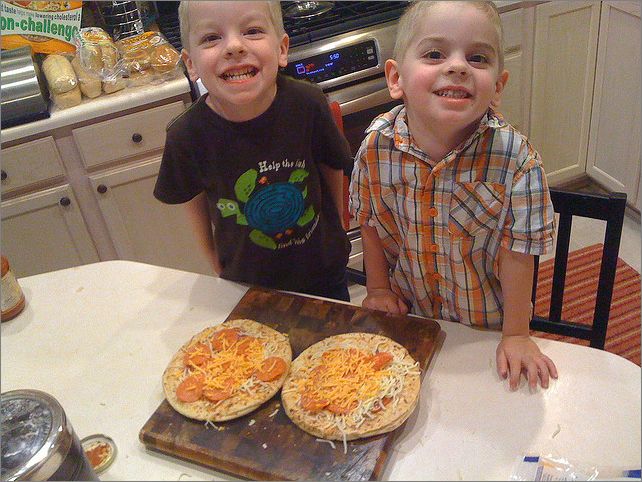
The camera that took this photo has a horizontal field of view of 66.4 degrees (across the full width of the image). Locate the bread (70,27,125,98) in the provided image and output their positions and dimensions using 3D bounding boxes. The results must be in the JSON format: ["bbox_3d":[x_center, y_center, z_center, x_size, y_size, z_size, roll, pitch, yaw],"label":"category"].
[{"bbox_3d":[-0.930,-0.747,2.036,0.188,0.304,0.111,-16,-7,-25],"label":"bread"}]

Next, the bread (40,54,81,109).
[{"bbox_3d":[-1.087,-0.665,2.058,0.130,0.112,0.277,-12,66,-25],"label":"bread"}]
